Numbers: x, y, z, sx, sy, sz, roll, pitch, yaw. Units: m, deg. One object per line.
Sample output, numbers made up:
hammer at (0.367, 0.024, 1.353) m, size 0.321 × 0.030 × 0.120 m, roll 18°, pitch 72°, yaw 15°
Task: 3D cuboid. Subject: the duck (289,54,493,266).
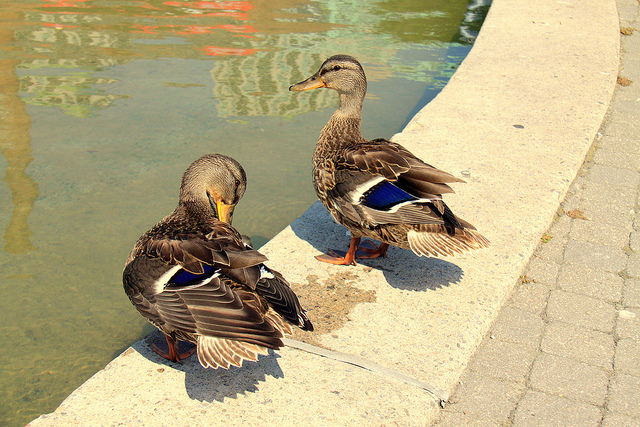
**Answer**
duck at (0.500, -0.339, 5.646) m, size 1.127 × 1.457 × 1.775 m, roll -8°, pitch 35°, yaw -16°
